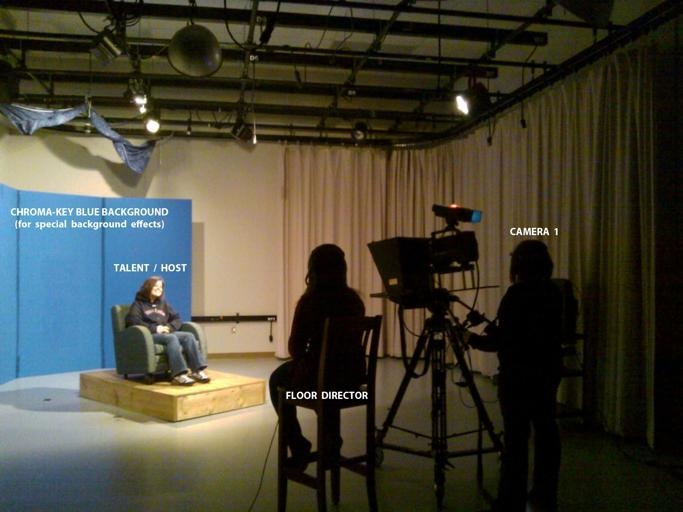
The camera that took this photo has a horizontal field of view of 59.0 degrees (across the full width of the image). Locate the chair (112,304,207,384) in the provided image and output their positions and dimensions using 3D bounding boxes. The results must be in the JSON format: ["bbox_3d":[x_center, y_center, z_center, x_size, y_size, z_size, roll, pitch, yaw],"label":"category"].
[{"bbox_3d":[-2.314,0.969,6.822,0.719,0.815,0.386,-2,0,40],"label":"chair"}]

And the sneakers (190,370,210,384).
[{"bbox_3d":[-1.527,1.316,6.593,0.154,0.137,0.212,-1,-1,-33],"label":"sneakers"}]

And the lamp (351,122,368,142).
[{"bbox_3d":[0.273,-1.817,8.747,0.215,0.278,0.302,-1,-1,1],"label":"lamp"}]

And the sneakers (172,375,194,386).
[{"bbox_3d":[-1.708,1.334,6.532,0.212,0.116,0.234,-1,-1,-16],"label":"sneakers"}]

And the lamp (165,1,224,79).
[{"bbox_3d":[-1.341,-1.925,5.632,0.520,0.622,0.626,-9,-20,-15],"label":"lamp"}]
